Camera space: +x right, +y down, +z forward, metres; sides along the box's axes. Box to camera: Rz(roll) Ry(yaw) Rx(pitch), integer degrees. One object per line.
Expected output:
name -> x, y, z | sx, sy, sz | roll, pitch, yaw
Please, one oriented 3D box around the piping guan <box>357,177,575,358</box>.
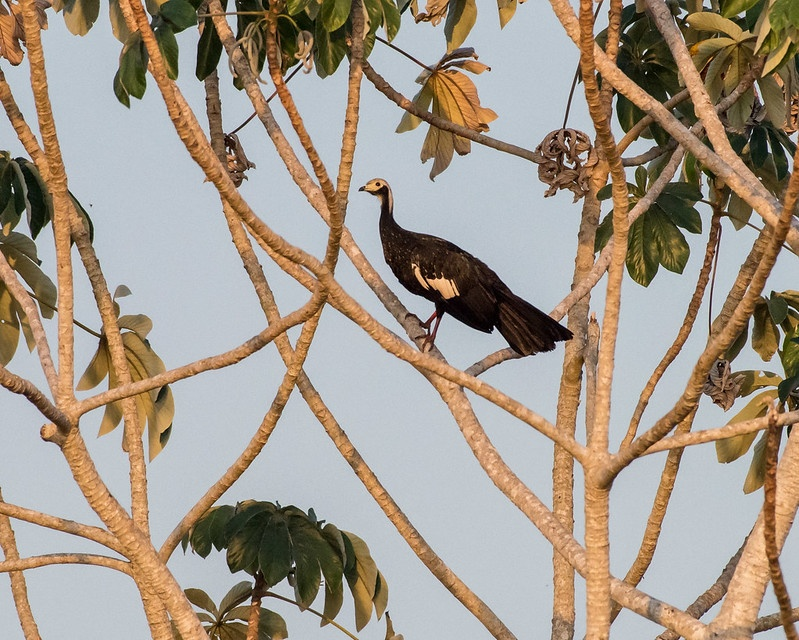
piping guan -> 0.574, -0.374, 14.291 | 2.080, 0.840, 1.666 | 10, -88, 29
